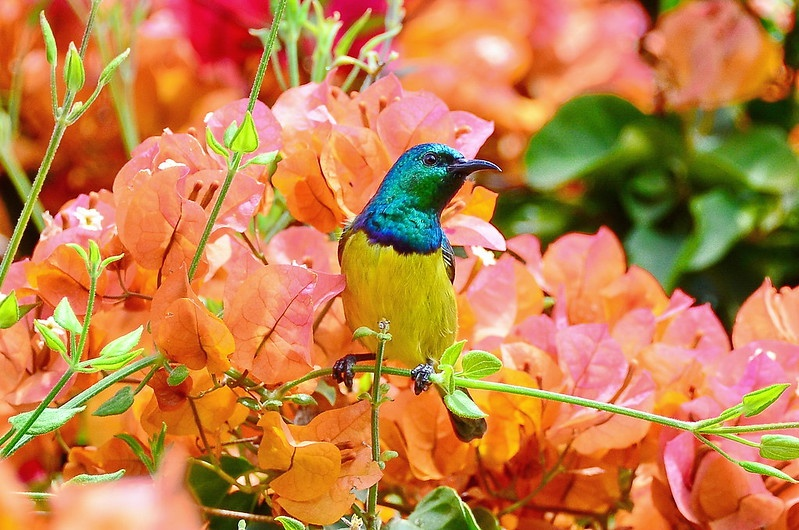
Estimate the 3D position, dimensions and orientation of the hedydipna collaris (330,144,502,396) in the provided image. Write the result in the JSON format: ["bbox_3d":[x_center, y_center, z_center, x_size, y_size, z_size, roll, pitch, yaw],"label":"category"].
[{"bbox_3d":[0.000,0.008,0.945,0.120,0.249,0.250,16,76,0],"label":"hedydipna collaris"}]
